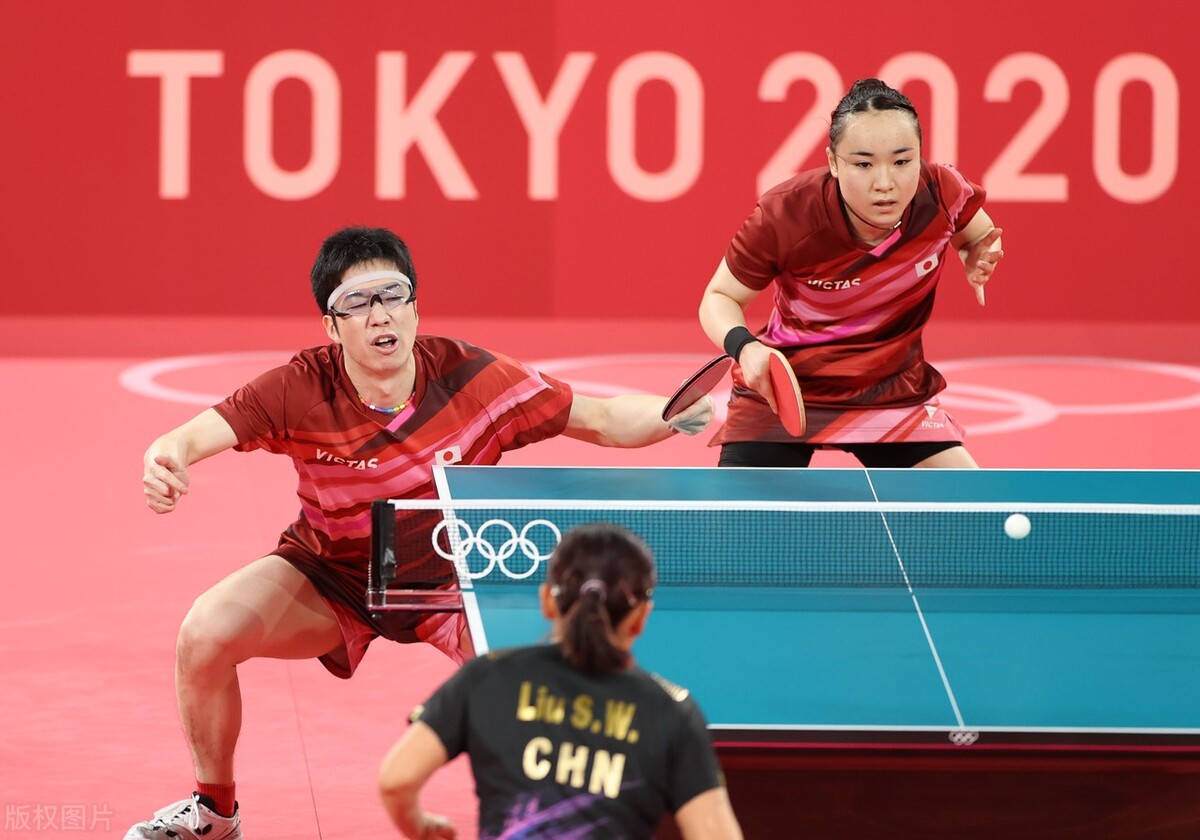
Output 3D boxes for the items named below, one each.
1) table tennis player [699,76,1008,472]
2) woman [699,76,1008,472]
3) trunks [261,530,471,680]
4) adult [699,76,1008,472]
[{"bbox_3d":[0.904,-0.487,4.231,1.096,1.394,0.634,-6,7,5],"label":"table tennis player"},{"bbox_3d":[0.902,-0.486,4.231,1.093,1.394,0.634,-6,7,5],"label":"woman"},{"bbox_3d":[-0.741,0.616,3.979,0.504,0.564,0.237,-7,-29,-7],"label":"trunks"},{"bbox_3d":[0.904,-0.487,4.230,1.096,1.394,0.636,-6,7,5],"label":"adult"}]
